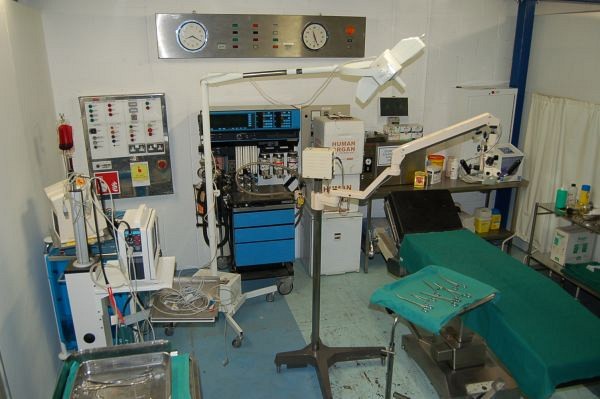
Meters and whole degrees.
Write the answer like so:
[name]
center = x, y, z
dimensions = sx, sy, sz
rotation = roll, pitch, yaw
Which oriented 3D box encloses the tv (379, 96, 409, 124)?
[tv]
center = 1.252, -1.228, 6.532
dimensions = 0.376, 0.344, 0.184
rotation = -1, 6, -10
